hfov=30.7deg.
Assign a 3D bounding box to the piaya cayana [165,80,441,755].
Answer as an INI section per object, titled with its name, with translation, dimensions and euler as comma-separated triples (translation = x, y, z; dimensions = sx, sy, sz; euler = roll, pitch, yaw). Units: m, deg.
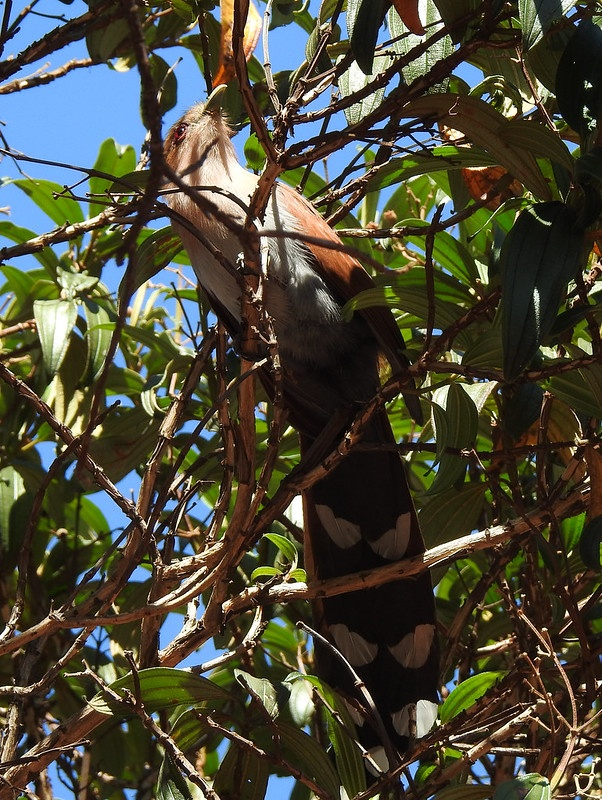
[piaya cayana]
translation = 0.032, -0.008, 2.711
dimensions = 0.495, 1.845, 0.730
euler = -17, -43, 5
